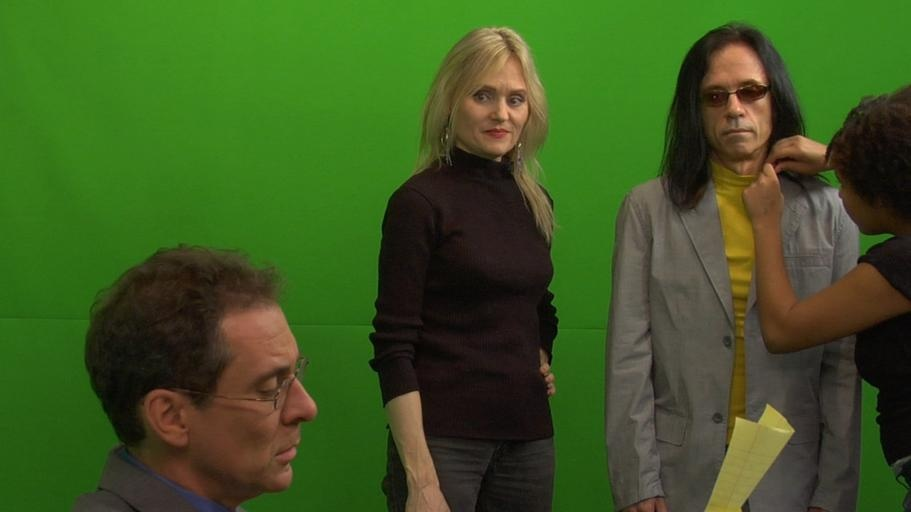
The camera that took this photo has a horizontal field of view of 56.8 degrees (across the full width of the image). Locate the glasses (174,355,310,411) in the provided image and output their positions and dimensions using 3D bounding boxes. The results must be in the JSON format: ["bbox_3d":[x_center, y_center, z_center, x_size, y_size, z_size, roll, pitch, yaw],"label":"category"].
[{"bbox_3d":[-0.735,0.460,3.010,0.288,0.071,0.215,11,0,1],"label":"glasses"}]
